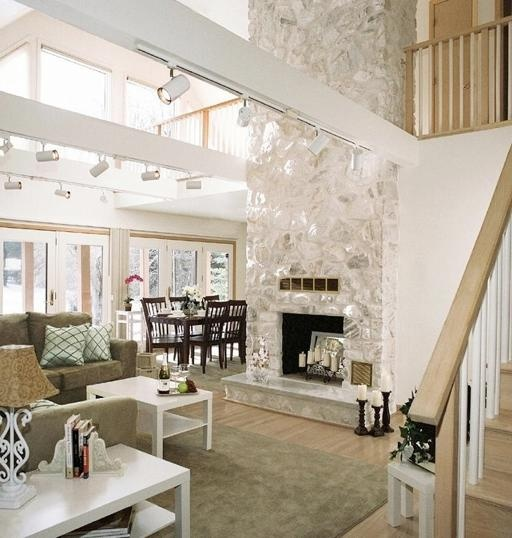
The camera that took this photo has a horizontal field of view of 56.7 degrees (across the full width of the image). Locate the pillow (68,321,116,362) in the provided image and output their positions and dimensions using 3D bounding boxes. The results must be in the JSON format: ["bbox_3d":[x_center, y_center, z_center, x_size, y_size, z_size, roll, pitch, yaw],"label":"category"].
[{"bbox_3d":[-1.757,0.830,5.117,0.426,0.526,0.215,1,-43,-19],"label":"pillow"}]

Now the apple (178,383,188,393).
[{"bbox_3d":[-0.569,0.927,3.763,0.061,0.072,0.067,10,0,7],"label":"apple"}]

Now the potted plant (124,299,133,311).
[{"bbox_3d":[-2.180,0.600,8.218,0.146,0.228,0.204,-1,0,-28],"label":"potted plant"}]

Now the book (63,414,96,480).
[{"bbox_3d":[-0.812,0.831,2.194,0.130,0.249,0.232,2,1,5],"label":"book"}]

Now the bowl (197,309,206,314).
[{"bbox_3d":[-0.870,0.674,7.568,0.081,0.061,0.091,0,3,7],"label":"bowl"}]

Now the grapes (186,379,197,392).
[{"bbox_3d":[-0.502,0.927,3.806,0.034,0.106,0.073,-19,-2,-27],"label":"grapes"}]

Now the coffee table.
[{"bbox_3d":[-0.853,1.211,3.928,0.899,0.495,0.555,-1,-4,42],"label":"coffee table"}]

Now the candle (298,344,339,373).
[{"bbox_3d":[0.653,0.990,5.226,0.165,0.258,0.590,7,-10,-43],"label":"candle"}]

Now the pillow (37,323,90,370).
[{"bbox_3d":[-1.953,0.793,4.813,0.442,0.506,0.169,5,-28,-20],"label":"pillow"}]

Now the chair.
[{"bbox_3d":[-0.977,0.941,7.405,1.221,0.905,1.147,-1,-1,44],"label":"chair"}]
